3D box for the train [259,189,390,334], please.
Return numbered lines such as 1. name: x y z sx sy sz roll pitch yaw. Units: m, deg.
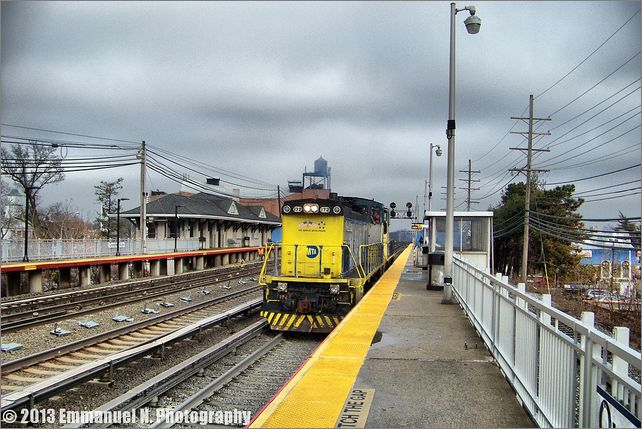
1. train: 0.488 1.726 21.277 3.089 5.162 7.520 2 1 18
